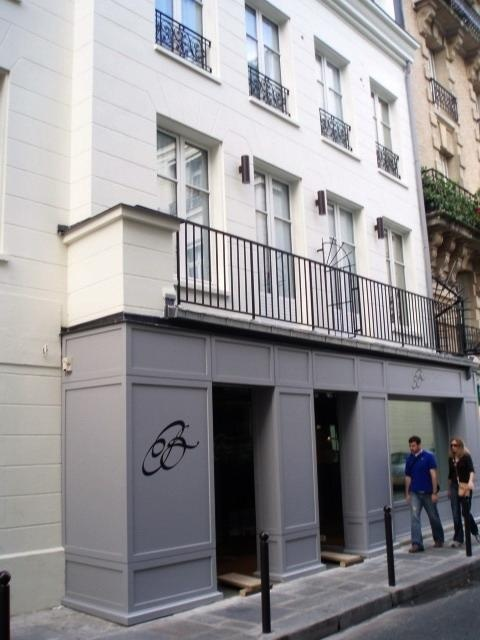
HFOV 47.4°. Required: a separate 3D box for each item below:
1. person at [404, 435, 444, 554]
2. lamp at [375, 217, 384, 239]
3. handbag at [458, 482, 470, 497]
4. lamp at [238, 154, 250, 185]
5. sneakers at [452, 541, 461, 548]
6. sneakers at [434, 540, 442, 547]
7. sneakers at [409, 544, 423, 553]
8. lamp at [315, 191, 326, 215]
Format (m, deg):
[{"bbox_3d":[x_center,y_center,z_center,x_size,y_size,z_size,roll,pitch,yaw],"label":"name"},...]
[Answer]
[{"bbox_3d":[2.727,2.575,8.255,0.472,1.642,0.666,-6,-10,21],"label":"person"},{"bbox_3d":[2.888,-1.898,11.307,0.263,0.457,0.149,5,-12,-37],"label":"lamp"},{"bbox_3d":[3.329,2.504,8.169,0.054,0.225,0.189,7,-14,3],"label":"handbag"},{"bbox_3d":[0.059,-2.246,8.176,0.174,0.446,0.131,-2,-9,-3],"label":"lamp"},{"bbox_3d":[3.239,3.359,8.236,0.060,0.103,0.209,-12,-32,25],"label":"sneakers"},{"bbox_3d":[2.988,3.353,8.277,0.048,0.081,0.172,-7,-32,23],"label":"sneakers"},{"bbox_3d":[2.545,3.311,7.963,0.086,0.152,0.282,-10,-27,33],"label":"sneakers"},{"bbox_3d":[1.424,-2.082,9.678,0.191,0.503,0.201,-8,-12,32],"label":"lamp"}]
